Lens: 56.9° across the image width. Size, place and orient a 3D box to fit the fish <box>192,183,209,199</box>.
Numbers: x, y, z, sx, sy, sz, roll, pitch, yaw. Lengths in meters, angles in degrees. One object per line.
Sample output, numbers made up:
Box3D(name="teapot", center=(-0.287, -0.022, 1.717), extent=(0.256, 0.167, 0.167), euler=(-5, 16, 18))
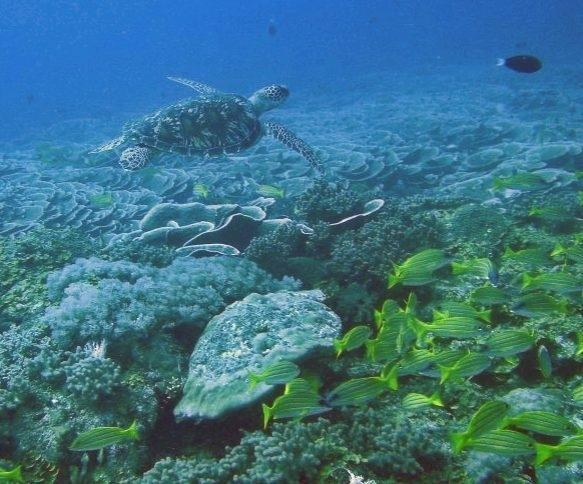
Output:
Box3D(name="fish", center=(-1.749, -1.023, 10.837), extent=(0.456, 0.296, 0.117), euler=(10, 18, 34))

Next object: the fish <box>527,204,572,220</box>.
Box3D(name="fish", center=(3.593, -0.389, 7.485), extent=(0.524, 0.295, 0.509), euler=(2, 21, 21))

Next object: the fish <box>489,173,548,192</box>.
Box3D(name="fish", center=(3.354, -0.878, 7.887), extent=(0.699, 0.256, 0.360), euler=(1, 22, 15))
